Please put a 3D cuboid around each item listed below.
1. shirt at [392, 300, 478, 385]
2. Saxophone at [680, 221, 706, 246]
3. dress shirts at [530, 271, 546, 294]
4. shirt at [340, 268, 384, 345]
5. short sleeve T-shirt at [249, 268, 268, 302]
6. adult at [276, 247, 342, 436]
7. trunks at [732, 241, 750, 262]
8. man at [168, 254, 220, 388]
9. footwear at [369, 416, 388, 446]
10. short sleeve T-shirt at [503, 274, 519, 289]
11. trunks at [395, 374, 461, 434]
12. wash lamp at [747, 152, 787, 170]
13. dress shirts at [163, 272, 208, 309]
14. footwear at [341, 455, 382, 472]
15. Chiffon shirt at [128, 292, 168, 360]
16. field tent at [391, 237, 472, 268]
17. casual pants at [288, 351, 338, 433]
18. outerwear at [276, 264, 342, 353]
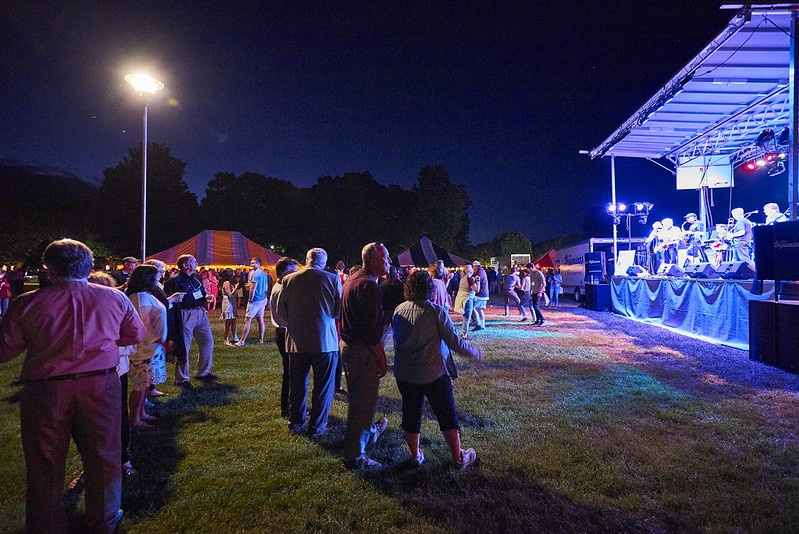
[{"bbox_3d":[0.346,0.962,7.533,1.316,1.169,0.770,2,4,38],"label":"shirt"},{"bbox_3d":[9.452,-1.076,17.575,0.506,1.024,0.568,14,-16,-10],"label":"Saxophone"},{"bbox_3d":[3.994,0.442,15.860,0.312,0.722,0.631,-6,4,-34],"label":"dress shirts"},{"bbox_3d":[-0.527,0.555,7.684,0.587,1.119,1.122,2,2,-23],"label":"shirt"},{"bbox_3d":[-3.145,0.416,12.181,0.331,0.736,0.344,-3,6,-24],"label":"short sleeve T-shirt"},{"bbox_3d":[-1.375,1.043,8.324,0.905,2.683,0.850,3,10,-5],"label":"adult"},{"bbox_3d":[9.199,-0.466,14.610,0.227,0.500,0.687,0,5,1],"label":"trunks"},{"bbox_3d":[-3.652,0.933,9.650,0.601,2.370,0.817,5,7,32],"label":"man"},{"bbox_3d":[-0.292,2.383,8.012,0.141,0.190,0.432,30,26,9],"label":"footwear"},{"bbox_3d":[3.387,0.427,16.556,0.336,0.351,0.199,25,0,25],"label":"short sleeve T-shirt"},{"bbox_3d":[0.403,1.856,7.423,0.792,1.456,0.494,-4,31,1],"label":"trunks"},{"bbox_3d":[11.036,-3.149,16.411,0.834,0.378,0.884,-2,12,6],"label":"wash lamp"},{"bbox_3d":[-3.682,0.415,9.590,0.470,0.831,0.979,-5,-5,15],"label":"dress shirts"},{"bbox_3d":[-0.525,2.624,7.507,0.553,0.262,0.199,-2,0,-11],"label":"footwear"},{"bbox_3d":[-3.613,0.813,8.382,0.455,0.878,0.665,-14,3,12],"label":"Chiffon shirt"},{"bbox_3d":[1.428,-0.556,25.165,1.821,0.936,1.928,-2,-5,22],"label":"field tent"},{"bbox_3d":[-1.304,1.652,8.161,0.660,1.611,0.458,-2,-5,3],"label":"casual pants"},{"bbox_3d":[-1.328,0.649,8.190,0.953,1.267,0.597,-3,-11,7],"label":"outerwear"}]
